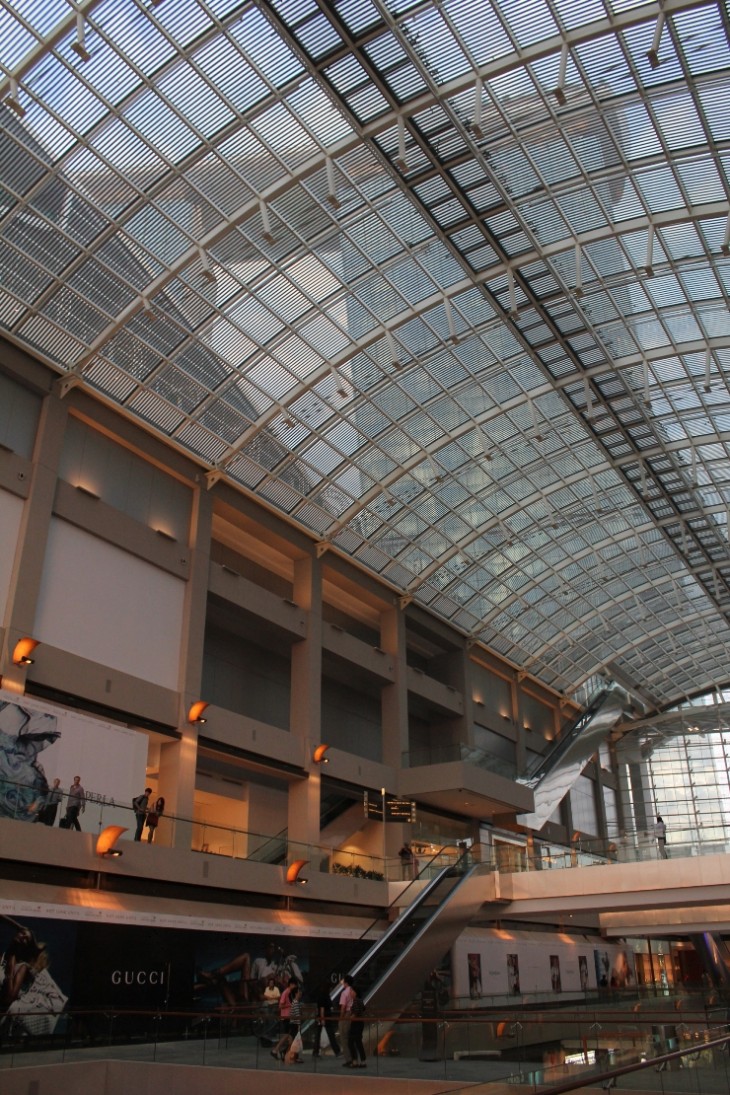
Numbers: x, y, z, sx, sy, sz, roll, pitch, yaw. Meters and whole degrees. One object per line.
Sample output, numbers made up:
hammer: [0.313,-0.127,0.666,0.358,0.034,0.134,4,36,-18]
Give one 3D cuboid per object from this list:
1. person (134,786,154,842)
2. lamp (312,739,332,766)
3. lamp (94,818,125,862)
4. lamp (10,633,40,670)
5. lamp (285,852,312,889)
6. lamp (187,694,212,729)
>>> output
person: [-5.649,6.680,19.738,0.416,1.258,1.232,7,-26,-14]
lamp: [-1.606,7.654,29.310,0.627,0.811,0.723,5,-16,-12]
lamp: [-5.861,6.736,18.199,0.324,0.723,0.940,-5,-25,10]
lamp: [-8.057,2.533,18.849,0.420,0.682,0.771,-5,-25,10]
lamp: [-2.131,10.194,24.785,0.851,0.980,0.675,-25,-36,26]
lamp: [-5.055,5.067,24.024,0.576,0.821,0.798,15,-32,-38]
